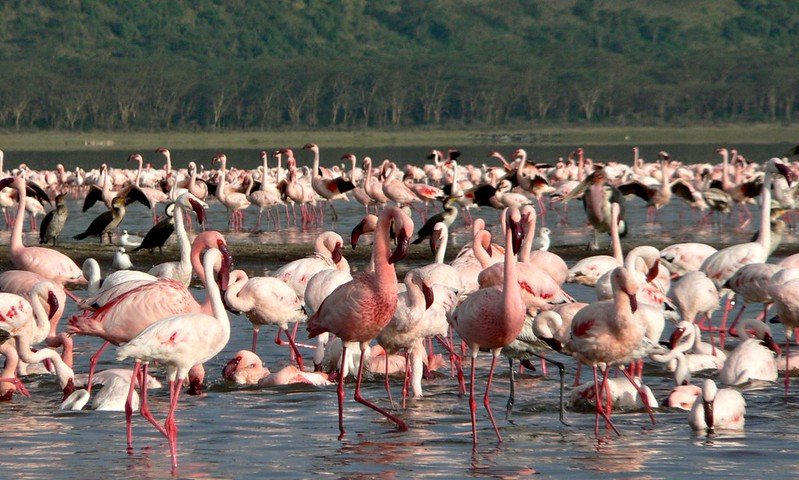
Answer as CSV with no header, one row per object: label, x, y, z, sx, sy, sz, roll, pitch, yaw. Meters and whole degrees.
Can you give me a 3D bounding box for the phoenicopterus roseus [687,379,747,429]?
phoenicopterus roseus,6.061,3.166,26.387,0.997,1.013,0.485,-6,4,-21
